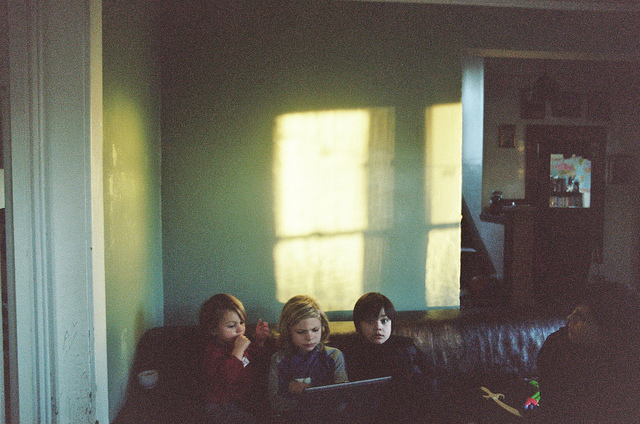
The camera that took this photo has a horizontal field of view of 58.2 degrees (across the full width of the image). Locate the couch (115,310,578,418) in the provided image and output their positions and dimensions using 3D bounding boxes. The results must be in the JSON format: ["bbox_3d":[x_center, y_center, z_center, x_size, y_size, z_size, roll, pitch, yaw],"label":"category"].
[{"bbox_3d":[0.525,0.946,3.262,1.676,0.534,0.550,-2,-25,-2],"label":"couch"}]
